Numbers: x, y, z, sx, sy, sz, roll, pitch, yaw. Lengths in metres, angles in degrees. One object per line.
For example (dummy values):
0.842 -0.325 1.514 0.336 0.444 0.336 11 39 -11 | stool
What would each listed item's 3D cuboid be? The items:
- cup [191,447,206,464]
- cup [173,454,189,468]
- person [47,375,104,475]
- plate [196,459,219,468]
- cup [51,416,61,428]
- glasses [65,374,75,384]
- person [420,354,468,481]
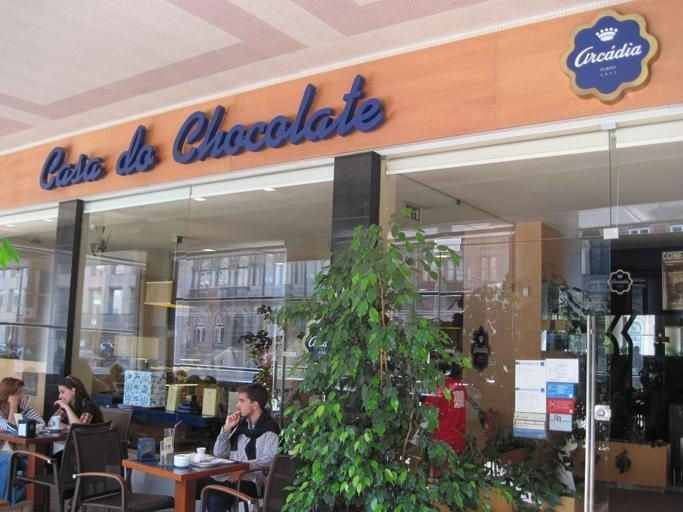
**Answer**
-1.295 1.815 4.942 0.104 0.119 0.122 1 -20 -1 | cup
-1.412 1.789 4.759 0.138 0.101 0.176 2 -7 -16 | cup
-3.184 2.036 6.546 0.668 1.106 0.516 -1 -4 -32 | person
-1.189 1.839 4.804 0.171 0.028 0.157 2 -7 -17 | plate
-3.298 1.893 6.186 0.091 0.126 0.135 2 -6 10 | cup
-3.364 1.518 6.679 0.083 0.109 0.110 13 -27 -1 | glasses
0.893 1.319 4.670 0.345 0.786 0.158 2 -8 -19 | person
